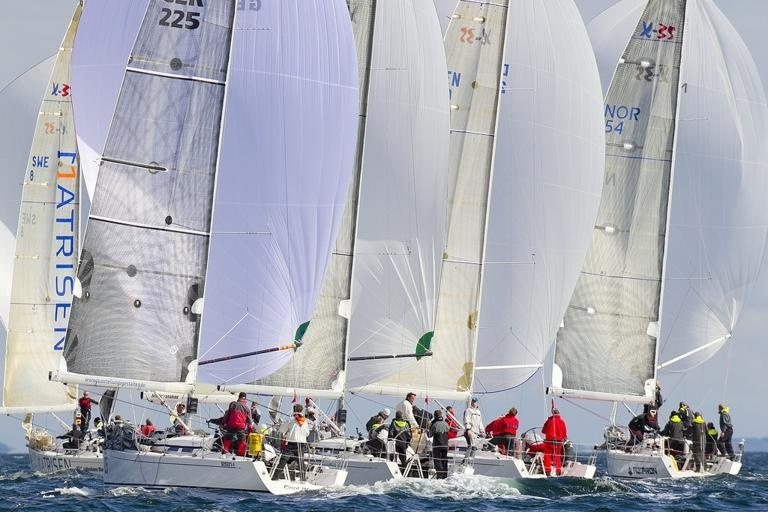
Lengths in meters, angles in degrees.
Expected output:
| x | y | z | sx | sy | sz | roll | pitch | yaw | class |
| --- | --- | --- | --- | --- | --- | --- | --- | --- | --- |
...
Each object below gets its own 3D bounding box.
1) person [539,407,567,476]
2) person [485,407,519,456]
| x | y | z | sx | sy | sz | roll | pitch | yaw | class |
| --- | --- | --- | --- | --- | --- | --- | --- | --- | --- |
| 4.499 | 4.837 | 25.207 | 0.718 | 1.747 | 0.635 | 5 | -9 | -16 | person |
| 3.084 | 4.568 | 25.164 | 0.994 | 1.184 | 0.547 | -6 | -12 | 43 | person |
